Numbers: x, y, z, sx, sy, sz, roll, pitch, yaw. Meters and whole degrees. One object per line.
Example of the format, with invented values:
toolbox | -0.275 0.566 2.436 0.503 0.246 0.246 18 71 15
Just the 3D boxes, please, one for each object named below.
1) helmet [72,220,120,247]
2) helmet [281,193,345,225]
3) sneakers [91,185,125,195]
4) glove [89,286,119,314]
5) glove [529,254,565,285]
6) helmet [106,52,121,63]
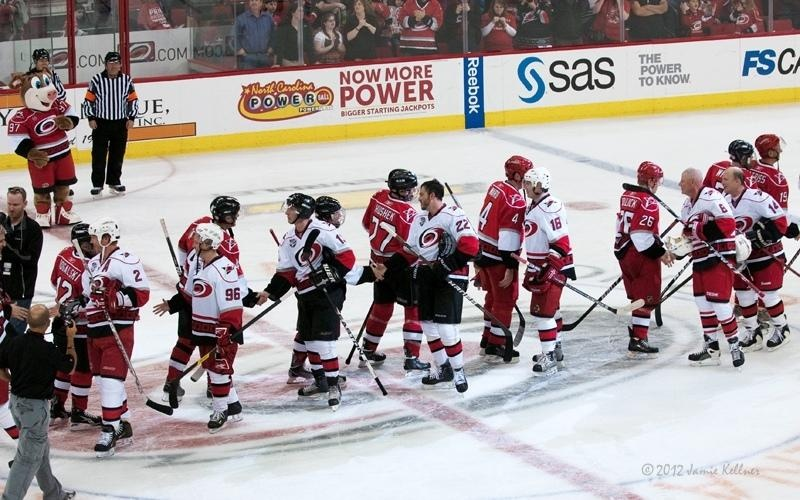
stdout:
helmet | -2.762 -0.134 8.709 0.357 0.143 0.254 -5 5 7
helmet | -0.813 -0.384 9.434 0.481 0.223 0.334 17 -4 -27
sneakers | -4.585 -0.938 15.082 0.351 0.093 0.218 -6 24 -7
glove | -2.641 0.459 8.581 0.209 0.199 0.246 -3 5 1
glove | 1.492 0.227 9.665 0.330 0.121 0.306 6 -12 3
helmet | -4.457 -2.988 14.897 0.211 0.140 0.291 0 -8 -15
